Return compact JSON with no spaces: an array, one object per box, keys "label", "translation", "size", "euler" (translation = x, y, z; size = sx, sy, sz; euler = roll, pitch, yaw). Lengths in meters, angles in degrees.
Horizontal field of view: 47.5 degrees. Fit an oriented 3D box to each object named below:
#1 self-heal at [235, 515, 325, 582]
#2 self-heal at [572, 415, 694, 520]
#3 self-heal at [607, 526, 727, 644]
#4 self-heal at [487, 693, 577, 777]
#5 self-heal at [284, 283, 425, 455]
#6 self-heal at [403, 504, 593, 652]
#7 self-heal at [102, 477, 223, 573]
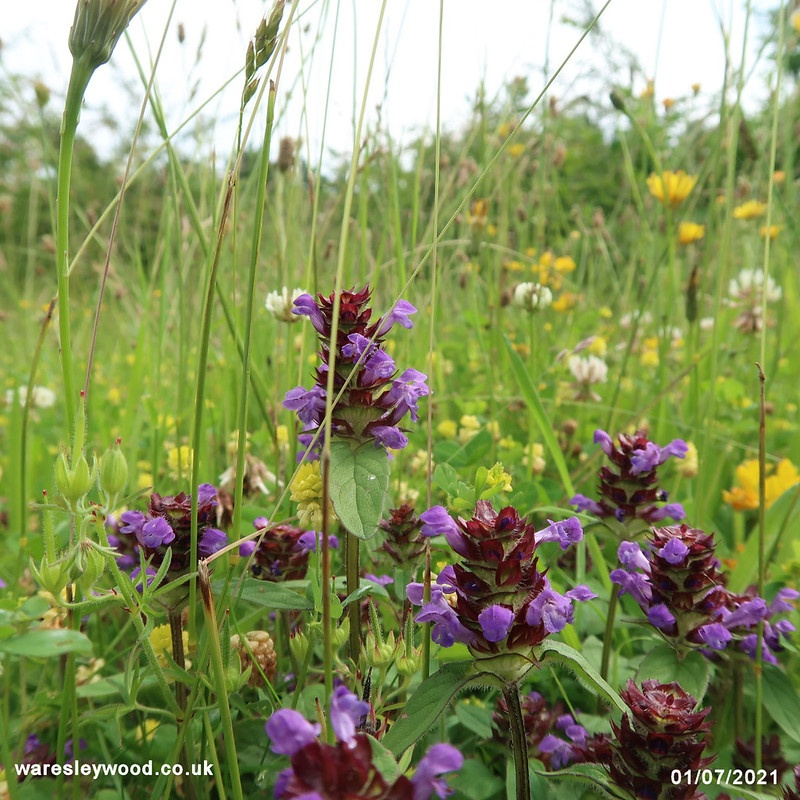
[{"label":"self-heal","translation":[-0.327,0.412,2.442],"size":[0.163,0.225,0.161],"euler":[10,-10,-43]},{"label":"self-heal","translation":[0.655,0.219,2.604],"size":[0.320,0.264,0.227],"euler":[1,-1,14]},{"label":"self-heal","translation":[0.700,0.452,2.343],"size":[0.227,0.267,0.200],"euler":[26,-9,-41]},{"label":"self-heal","translation":[0.378,0.896,2.473],"size":[0.176,0.143,0.197],"euler":[9,-1,-27]},{"label":"self-heal","translation":[-0.101,-0.027,2.287],"size":[0.310,0.486,0.346],"euler":[4,-7,-27]},{"label":"self-heal","translation":[0.231,0.394,2.034],"size":[0.419,0.335,0.318],"euler":[1,-1,7]},{"label":"self-heal","translation":[-0.550,0.299,2.168],"size":[0.121,0.180,0.131],"euler":[3,0,39]}]
